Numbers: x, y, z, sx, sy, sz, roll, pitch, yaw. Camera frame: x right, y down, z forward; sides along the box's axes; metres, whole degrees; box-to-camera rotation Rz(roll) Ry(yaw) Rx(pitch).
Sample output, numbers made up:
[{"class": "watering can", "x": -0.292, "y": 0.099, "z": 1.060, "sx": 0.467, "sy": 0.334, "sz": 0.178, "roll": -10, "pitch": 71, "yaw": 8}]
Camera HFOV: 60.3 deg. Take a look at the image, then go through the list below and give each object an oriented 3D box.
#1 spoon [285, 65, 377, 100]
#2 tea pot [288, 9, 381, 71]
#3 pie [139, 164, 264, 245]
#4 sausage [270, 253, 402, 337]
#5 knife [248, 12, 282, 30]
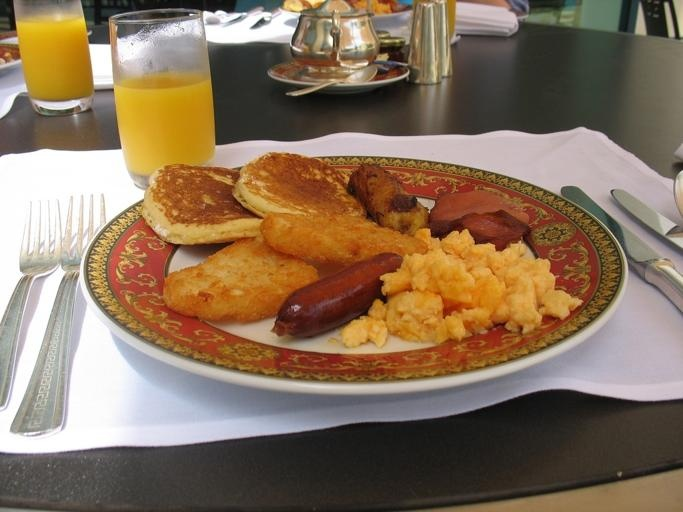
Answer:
[{"class": "spoon", "x": -0.035, "y": -0.712, "z": 2.433, "sx": 0.400, "sy": 0.050, "sz": 0.078, "roll": -29, "pitch": 41, "yaw": -33}, {"class": "tea pot", "x": -0.039, "y": -0.959, "z": 2.509, "sx": 0.393, "sy": 0.227, "sz": 0.489, "roll": -2, "pitch": 32, "yaw": -5}, {"class": "pie", "x": -0.338, "y": -0.107, "z": 1.428, "sx": 0.261, "sy": 0.063, "sz": 0.247, "roll": -6, "pitch": 42, "yaw": -34}, {"class": "sausage", "x": -0.014, "y": 0.082, "z": 1.145, "sx": 0.310, "sy": 0.088, "sz": 0.094, "roll": -21, "pitch": 43, "yaw": -30}, {"class": "knife", "x": -0.505, "y": -1.503, "z": 3.778, "sx": 0.083, "sy": 0.076, "sz": 0.316, "roll": 25, "pitch": 37, "yaw": -7}]
